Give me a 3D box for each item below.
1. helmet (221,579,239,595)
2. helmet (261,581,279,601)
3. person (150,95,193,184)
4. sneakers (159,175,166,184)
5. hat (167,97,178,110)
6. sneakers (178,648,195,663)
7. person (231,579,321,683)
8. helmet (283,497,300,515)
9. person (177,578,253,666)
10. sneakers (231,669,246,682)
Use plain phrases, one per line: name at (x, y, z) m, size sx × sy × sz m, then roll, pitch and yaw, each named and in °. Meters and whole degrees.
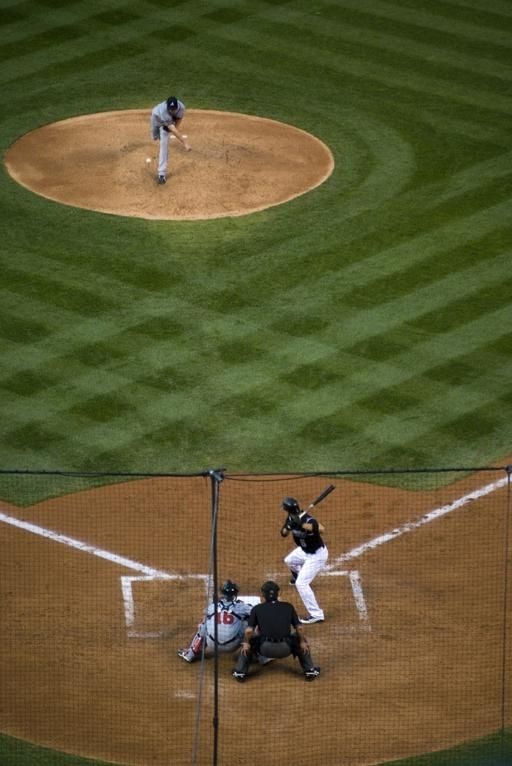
helmet at (-0.322, 2.250, 18.492) m, size 0.132 × 0.171 × 0.127 m, roll -2°, pitch -2°, yaw 0°
helmet at (0.127, 2.247, 18.172) m, size 0.173 × 0.230 × 0.216 m, roll -1°, pitch 0°, yaw -3°
person at (-1.490, -3.951, 27.255) m, size 0.585 × 1.161 × 1.548 m, roll 0°, pitch -5°, yaw -3°
sneakers at (-1.618, -3.368, 27.618) m, size 0.061 × 0.142 × 0.130 m, roll -3°, pitch 7°, yaw 4°
hat at (-1.392, -4.472, 26.645) m, size 0.157 × 0.245 × 0.246 m, roll 0°, pitch -5°, yaw -8°
sneakers at (-0.810, 2.999, 18.482) m, size 0.099 × 0.135 × 0.193 m, roll -18°, pitch 48°, yaw -41°
person at (0.178, 2.688, 18.317) m, size 0.921 × 1.118 × 0.610 m, roll -1°, pitch 18°, yaw 1°
helmet at (0.402, 1.399, 19.144) m, size 0.148 × 0.202 × 0.194 m, roll -34°, pitch 21°, yaw -24°
person at (-0.497, 2.641, 18.384) m, size 1.130 × 0.877 × 0.755 m, roll -2°, pitch 19°, yaw -6°
sneakers at (-0.221, 3.174, 18.206) m, size 0.140 × 0.155 × 0.091 m, roll -10°, pitch -9°, yaw 13°
